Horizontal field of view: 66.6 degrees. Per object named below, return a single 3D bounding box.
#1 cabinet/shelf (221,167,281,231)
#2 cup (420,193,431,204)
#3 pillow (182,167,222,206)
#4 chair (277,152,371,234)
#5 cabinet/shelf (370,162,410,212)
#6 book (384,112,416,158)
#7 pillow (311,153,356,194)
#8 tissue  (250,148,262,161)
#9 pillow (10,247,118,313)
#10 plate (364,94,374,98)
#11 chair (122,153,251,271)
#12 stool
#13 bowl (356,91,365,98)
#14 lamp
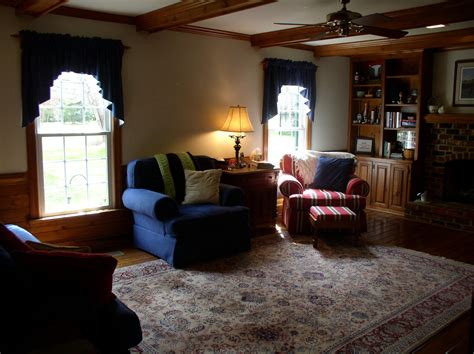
[{"bbox_3d":[0.204,0.279,5.491,0.778,0.924,0.610,-9,16,-29],"label":"cabinet/shelf"},{"bbox_3d":[3.154,0.336,5.988,0.104,0.185,0.188,7,12,37],"label":"cup"},{"bbox_3d":[-0.452,0.143,4.630,0.456,0.435,0.159,1,-12,2],"label":"pillow"},{"bbox_3d":[1.231,0.198,5.487,1.283,1.108,1.201,1,5,0],"label":"chair"},{"bbox_3d":[2.715,0.163,6.326,0.413,1.027,0.766,-3,8,-36],"label":"cabinet/shelf"},{"bbox_3d":[2.943,-0.742,6.437,0.328,0.813,0.619,-8,15,-37],"label":"book"},{"bbox_3d":[1.455,-0.048,5.427,0.574,0.545,0.175,12,-2,33],"label":"pillow"},{"bbox_3d":[0.363,-0.354,5.784,0.222,0.245,0.184,-1,3,-17],"label":"tissue "},{"bbox_3d":[-1.000,0.572,2.119,0.415,0.130,0.431,17,-18,-12],"label":"pillow"},{"bbox_3d":[2.506,-1.519,6.833,0.094,0.039,0.096,2,3,41],"label":"plate"},{"bbox_3d":[-0.669,0.334,4.665,1.433,1.205,1.379,-4,9,-32],"label":"chair"},{"bbox_3d":[1.266,0.619,4.963,0.611,0.418,0.675,2,10,-7],"label":"stool"},{"bbox_3d":[2.394,-1.577,6.976,0.133,0.102,0.139,0,4,0],"label":"bowl"},{"bbox_3d":[0.018,-0.604,5.419,0.530,0.874,0.491,-1,11,-13],"label":"lamp"}]
